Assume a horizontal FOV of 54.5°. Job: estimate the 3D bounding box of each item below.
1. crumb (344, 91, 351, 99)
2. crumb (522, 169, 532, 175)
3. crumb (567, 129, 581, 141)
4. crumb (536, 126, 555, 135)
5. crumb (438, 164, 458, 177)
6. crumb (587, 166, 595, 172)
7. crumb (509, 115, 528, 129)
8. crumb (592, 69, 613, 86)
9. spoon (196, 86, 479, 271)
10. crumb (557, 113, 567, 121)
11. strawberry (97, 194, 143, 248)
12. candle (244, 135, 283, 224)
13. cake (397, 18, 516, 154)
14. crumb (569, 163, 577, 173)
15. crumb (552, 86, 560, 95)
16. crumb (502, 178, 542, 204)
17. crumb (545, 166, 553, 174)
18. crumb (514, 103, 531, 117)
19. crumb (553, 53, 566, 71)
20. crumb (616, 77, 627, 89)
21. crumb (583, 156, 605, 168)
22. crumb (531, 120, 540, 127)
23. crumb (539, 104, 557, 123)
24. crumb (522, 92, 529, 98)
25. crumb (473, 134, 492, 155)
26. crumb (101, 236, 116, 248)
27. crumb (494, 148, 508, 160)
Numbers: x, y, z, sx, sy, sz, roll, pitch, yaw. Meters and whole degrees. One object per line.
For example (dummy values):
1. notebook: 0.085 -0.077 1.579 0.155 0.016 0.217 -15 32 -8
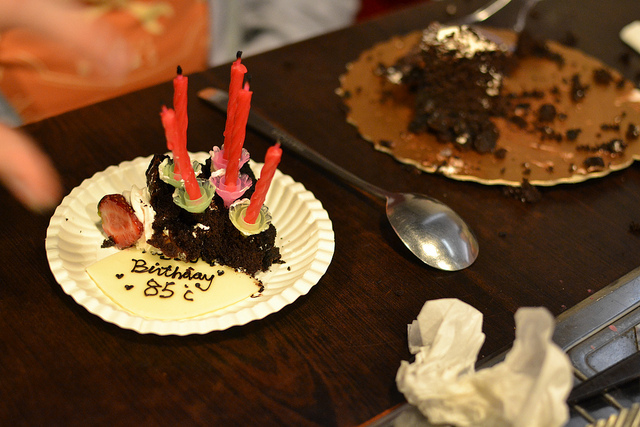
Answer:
1. crumb: 0.083 -0.373 1.938 0.019 0.004 0.020 -23 76 -10
2. crumb: 0.584 -0.120 1.765 0.022 0.005 0.019 7 58 -6
3. crumb: 0.743 -0.236 1.837 0.035 0.011 0.032 -41 49 -12
4. crumb: 0.670 -0.251 1.851 0.022 0.008 0.037 -17 32 -18
5. crumb: 0.364 -0.127 1.773 0.048 0.013 0.028 0 56 1
6. crumb: 0.765 -0.128 1.764 0.018 0.005 0.023 19 57 1
7. crumb: 0.597 -0.281 1.877 0.037 0.010 0.058 -36 71 -27
8. crumb: 0.879 -0.429 1.941 0.059 0.013 0.053 2 58 -9
9. spoon: 0.039 -0.043 1.376 0.081 0.947 0.175 -45 49 17
10. crumb: 0.728 -0.295 1.879 0.019 0.008 0.024 -10 54 -2
11. strawberry: -0.502 0.015 1.553 0.156 0.113 0.042 9 20 21
12. candle: -0.131 -0.085 1.438 0.045 0.252 0.123 28 58 8
13. cake: 0.414 -0.400 1.871 0.370 0.103 0.387 -2 78 1
14. crumb: 0.714 -0.131 1.767 0.020 0.006 0.023 4 57 12
15. crumb: 0.729 -0.384 1.931 0.021 0.006 0.030 17 57 0
16. crumb: 0.562 -0.062 1.718 0.075 0.020 0.078 -12 65 4
17. crumb: 0.651 -0.126 1.768 0.026 0.006 0.023 -22 65 -22
18. crumb: 0.614 -0.319 1.902 0.056 0.022 0.028 -31 102 -61
19. crumb: 0.762 -0.492 1.995 0.023 0.010 0.071 -23 53 3
20. crumb: 0.933 -0.407 1.933 0.024 0.006 0.055 33 59 10
21. crumb: 0.778 -0.150 1.776 0.058 0.016 0.038 3 58 -9
22. crumb: 0.646 -0.274 1.871 0.020 0.006 0.030 22 57 3
23. crumb: 0.688 -0.306 1.888 0.048 0.014 0.077 21 57 3
24. crumb: 0.636 -0.371 1.933 0.017 0.005 0.019 8 58 -6
25. crumb: 0.475 -0.204 1.815 0.041 0.009 0.053 -6 61 -4
26. crumb: -0.535 0.073 1.564 0.027 0.011 0.027 -13 15 8
27. crumb: 0.520 -0.175 1.806 0.029 0.012 0.034 5 58 5
